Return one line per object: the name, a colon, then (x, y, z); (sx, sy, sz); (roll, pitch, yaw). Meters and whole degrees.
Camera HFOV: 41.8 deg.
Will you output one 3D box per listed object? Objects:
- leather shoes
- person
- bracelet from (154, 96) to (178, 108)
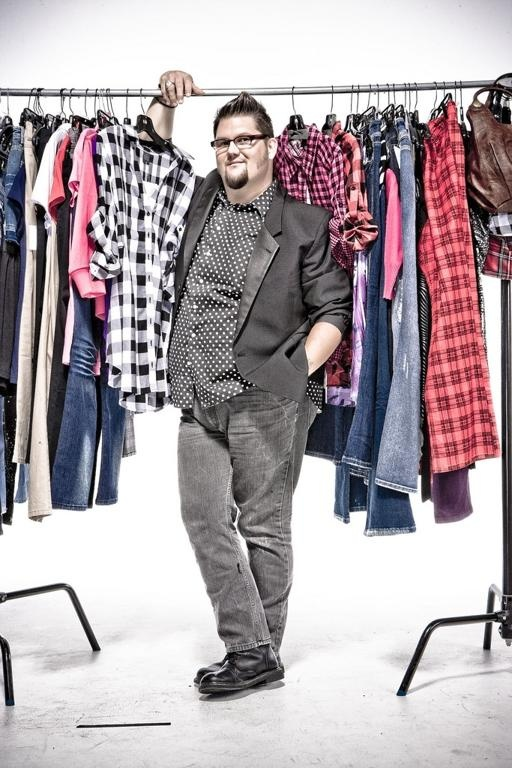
leather shoes: (-0.029, 0.642, 1.594); (0.236, 0.140, 0.082); (3, -3, -35)
person: (0.002, 0.003, 1.630); (0.457, 1.441, 0.269); (-1, -6, 10)
bracelet: (-0.239, -0.731, 1.753); (0.045, 0.020, 0.035); (28, 8, 3)
